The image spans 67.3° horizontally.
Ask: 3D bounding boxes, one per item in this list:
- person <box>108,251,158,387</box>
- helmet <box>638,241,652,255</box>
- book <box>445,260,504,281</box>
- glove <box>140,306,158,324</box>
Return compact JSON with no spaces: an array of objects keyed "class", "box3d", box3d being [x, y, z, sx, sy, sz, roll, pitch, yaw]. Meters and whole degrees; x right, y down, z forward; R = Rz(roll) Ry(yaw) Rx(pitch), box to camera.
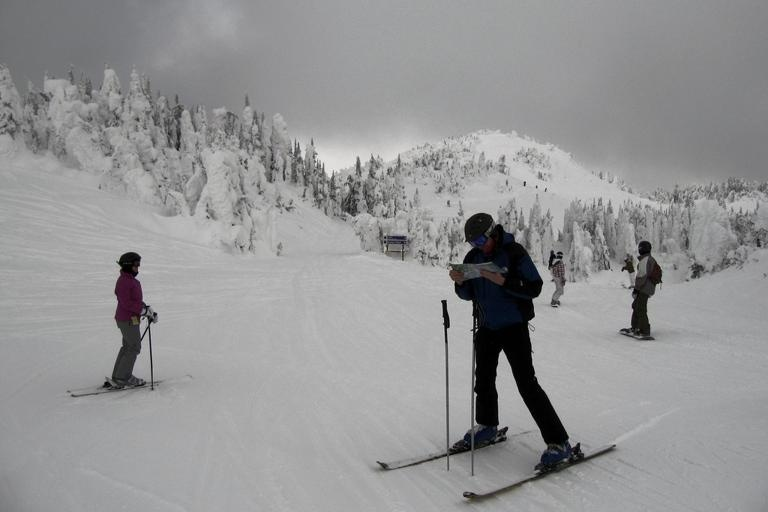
[{"class":"person","box3d":[-6.594,1.645,15.099,0.896,3.469,0.647,1,2,-28]},{"class":"helmet","box3d":[8.411,-0.252,18.690,0.502,0.575,0.439,-2,1,36]},{"class":"book","box3d":[2.048,0.315,12.594,0.729,0.286,0.623,-1,-41,-1]},{"class":"glove","box3d":[-6.598,1.674,16.241,0.423,0.334,0.746,6,-6,-24]}]
